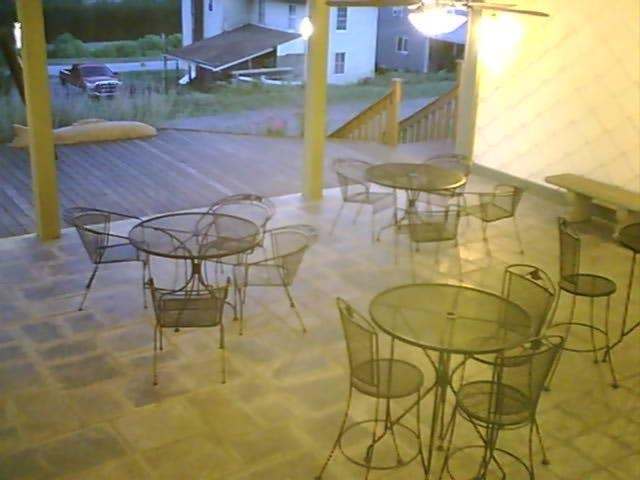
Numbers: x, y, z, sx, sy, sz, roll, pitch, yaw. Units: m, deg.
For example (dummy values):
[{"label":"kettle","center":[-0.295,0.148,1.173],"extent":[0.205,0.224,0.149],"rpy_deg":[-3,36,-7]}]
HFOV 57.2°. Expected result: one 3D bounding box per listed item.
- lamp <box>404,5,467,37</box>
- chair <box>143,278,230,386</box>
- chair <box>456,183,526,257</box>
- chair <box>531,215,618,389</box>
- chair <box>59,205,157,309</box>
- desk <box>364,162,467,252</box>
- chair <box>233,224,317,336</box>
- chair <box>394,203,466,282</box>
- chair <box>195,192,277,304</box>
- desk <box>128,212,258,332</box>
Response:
[{"label":"lamp","center":[1.125,-2.310,6.101],"extent":[0.732,0.248,0.689],"rpy_deg":[-14,30,-26]},{"label":"chair","center":[-1.163,0.661,5.195],"extent":[0.715,0.912,0.882],"rpy_deg":[-5,24,-12]},{"label":"chair","center":[2.225,-0.229,7.667],"extent":[0.748,0.899,0.713],"rpy_deg":[-11,35,-13]},{"label":"chair","center":[2.474,0.621,5.713],"extent":[0.993,1.893,0.934],"rpy_deg":[-1,31,20]},{"label":"chair","center":[-2.175,0.162,6.236],"extent":[0.979,0.969,1.013],"rpy_deg":[11,16,42]},{"label":"desk","center":[1.146,-0.470,7.558],"extent":[1.211,0.708,1.089],"rpy_deg":[1,35,-3]},{"label":"chair","center":[-0.465,0.353,5.864],"extent":[0.861,0.900,0.745],"rpy_deg":[-5,21,-14]},{"label":"chair","center":[1.334,-0.123,7.076],"extent":[0.796,0.821,1.300],"rpy_deg":[5,23,10]},{"label":"chair","center":[-0.888,0.109,6.284],"extent":[1.094,1.247,0.898],"rpy_deg":[5,37,-6]},{"label":"desk","center":[-1.274,0.294,6.089],"extent":[1.329,0.782,1.221],"rpy_deg":[-7,34,-19]}]
